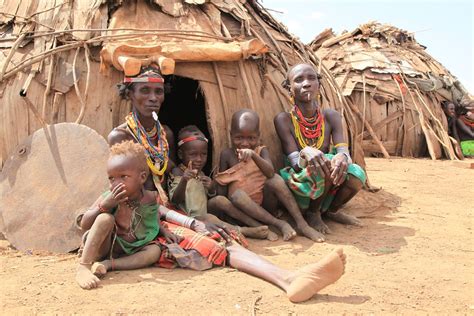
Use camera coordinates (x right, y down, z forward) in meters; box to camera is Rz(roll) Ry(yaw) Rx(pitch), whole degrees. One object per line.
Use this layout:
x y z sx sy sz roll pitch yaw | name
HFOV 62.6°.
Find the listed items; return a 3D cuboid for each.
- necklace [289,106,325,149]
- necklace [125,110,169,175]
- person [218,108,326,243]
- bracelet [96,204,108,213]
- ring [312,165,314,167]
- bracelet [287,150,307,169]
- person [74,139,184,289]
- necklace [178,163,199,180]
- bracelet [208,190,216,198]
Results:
0.866 -0.353 4.692 0.399 0.500 0.122 -7 -3 -9 | necklace
-0.993 -0.174 4.245 0.183 0.653 0.519 -26 -11 33 | necklace
0.360 0.208 4.353 1.497 1.326 0.867 14 24 40 | person
-1.209 0.456 3.528 0.090 0.085 0.081 -4 3 -18 | bracelet
0.828 0.088 4.199 0.021 0.014 0.020 -1 4 0 | ring
0.733 0.032 4.462 0.204 0.145 0.162 26 -16 -9 | bracelet
-1.064 0.469 3.646 0.919 1.239 0.395 -5 3 -32 | person
-0.530 0.129 4.432 0.241 0.097 0.179 26 0 -33 | necklace
-0.285 0.431 4.611 0.089 0.081 0.100 3 -19 -3 | bracelet
